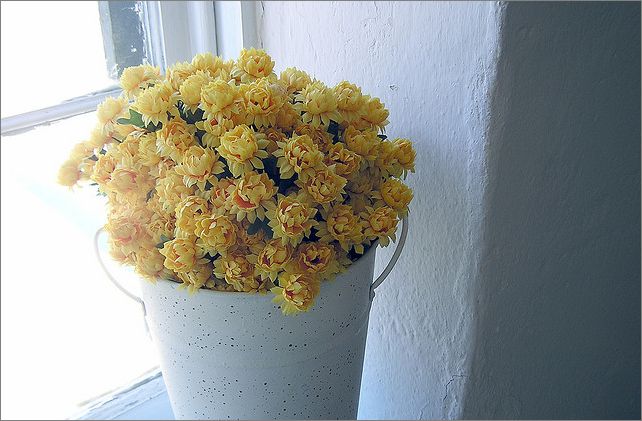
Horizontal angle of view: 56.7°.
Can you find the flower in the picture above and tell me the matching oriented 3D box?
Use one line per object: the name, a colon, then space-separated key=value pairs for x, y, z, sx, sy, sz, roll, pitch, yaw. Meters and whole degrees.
flower: x=-0.131 y=-0.062 z=1.259 sx=0.620 sy=0.428 sz=0.670 roll=-4 pitch=7 yaw=-38
